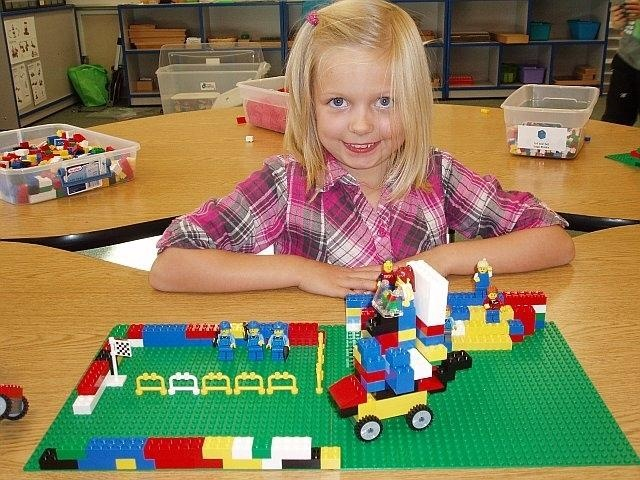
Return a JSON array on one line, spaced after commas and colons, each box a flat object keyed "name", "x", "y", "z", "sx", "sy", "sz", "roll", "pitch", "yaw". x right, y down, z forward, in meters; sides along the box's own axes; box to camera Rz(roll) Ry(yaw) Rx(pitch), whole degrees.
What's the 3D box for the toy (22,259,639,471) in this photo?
[{"name": "toy", "x": 0.015, "y": 0.178, "z": 0.611, "sx": 0.614, "sy": 0.098, "sz": 0.306, "roll": 1, "pitch": 32, "yaw": 2}]
